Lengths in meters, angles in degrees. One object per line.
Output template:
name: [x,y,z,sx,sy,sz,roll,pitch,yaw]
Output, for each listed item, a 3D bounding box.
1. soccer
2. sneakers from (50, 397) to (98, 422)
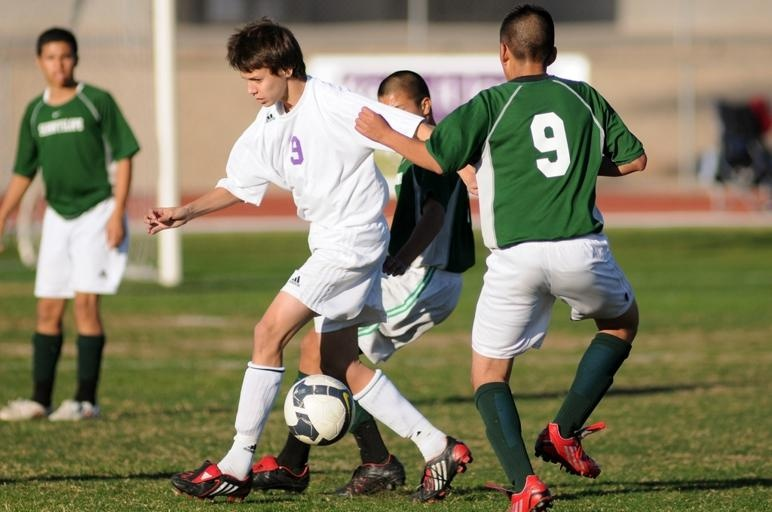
soccer: [-0.576,1.348,11.403,0.555,0.548,0.548,16,-15,-6]
sneakers: [-2.929,1.438,12.614,0.382,0.150,0.209,0,-2,-9]
